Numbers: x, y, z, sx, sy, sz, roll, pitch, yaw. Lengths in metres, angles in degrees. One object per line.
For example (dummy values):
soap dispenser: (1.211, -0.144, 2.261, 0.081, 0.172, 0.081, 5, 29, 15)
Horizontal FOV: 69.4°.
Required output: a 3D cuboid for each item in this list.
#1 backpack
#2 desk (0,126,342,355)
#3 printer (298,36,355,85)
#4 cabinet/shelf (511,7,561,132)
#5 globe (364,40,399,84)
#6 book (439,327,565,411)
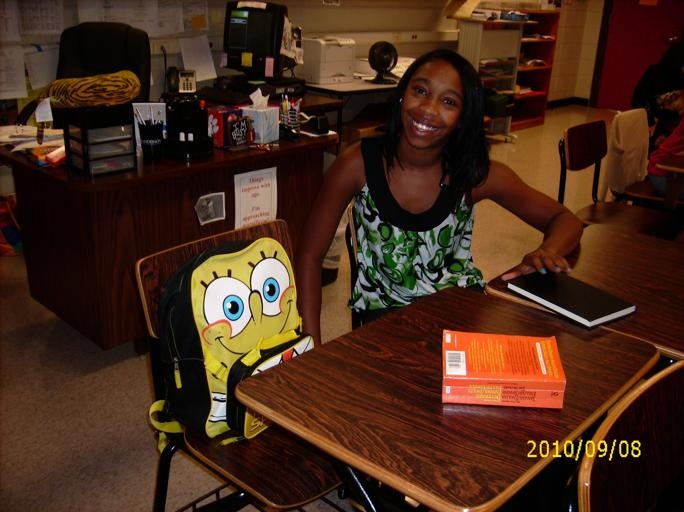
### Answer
backpack: (-0.279, 0.232, 1.198, 0.240, 0.444, 0.429, 15, 25, 33)
desk: (-1.079, -0.024, 2.772, 1.787, 0.948, 1.006, -21, 35, -38)
printer: (-0.105, -1.739, 4.409, 0.443, 0.429, 0.452, -23, 39, -38)
cabinet/shelf: (2.980, -2.906, 7.675, 0.481, 1.780, 1.503, 18, 34, 34)
globe: (0.376, -1.817, 4.607, 0.287, 0.393, 0.231, 5, 10, -3)
book: (0.333, 0.237, 1.044, 0.196, 0.073, 0.155, 5, 38, 1)
